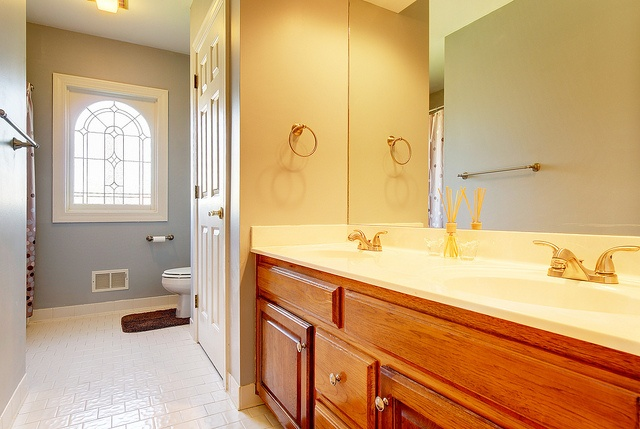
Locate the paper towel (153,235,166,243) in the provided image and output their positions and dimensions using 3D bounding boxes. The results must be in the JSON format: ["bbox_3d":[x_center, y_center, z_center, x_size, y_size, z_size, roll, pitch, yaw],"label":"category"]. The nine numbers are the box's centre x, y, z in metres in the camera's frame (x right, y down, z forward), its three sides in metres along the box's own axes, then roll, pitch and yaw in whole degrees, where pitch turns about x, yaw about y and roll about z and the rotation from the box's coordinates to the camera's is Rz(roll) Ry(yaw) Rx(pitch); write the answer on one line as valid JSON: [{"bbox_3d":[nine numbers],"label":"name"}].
[{"bbox_3d":[-1.611,0.252,4.143,0.152,0.054,0.049,-2,35,-18],"label":"paper towel"}]

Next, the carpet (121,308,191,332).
[{"bbox_3d":[-1.542,0.977,3.840,0.569,0.050,0.557,-3,9,-30],"label":"carpet"}]
